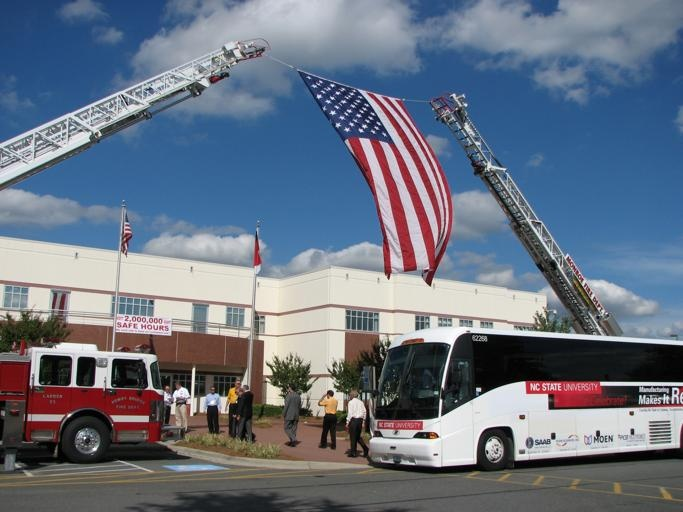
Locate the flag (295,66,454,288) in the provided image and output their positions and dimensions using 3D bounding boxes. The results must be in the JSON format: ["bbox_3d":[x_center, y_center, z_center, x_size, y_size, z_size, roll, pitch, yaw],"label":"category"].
[{"bbox_3d":[1.610,-2.456,23.284,4.467,5.144,2.956,0,0,-7],"label":"flag"}]

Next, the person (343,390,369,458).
[{"bbox_3d":[0.535,5.597,23.351,0.670,1.590,2.168,0,0,2],"label":"person"}]
